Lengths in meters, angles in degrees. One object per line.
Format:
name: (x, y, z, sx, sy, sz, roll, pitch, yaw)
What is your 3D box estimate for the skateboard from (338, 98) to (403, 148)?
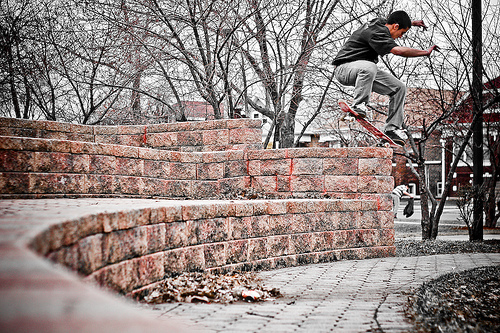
skateboard: (2.737, -1.048, 12.904, 1.793, 0.277, 0.398, 26, -3, -38)
